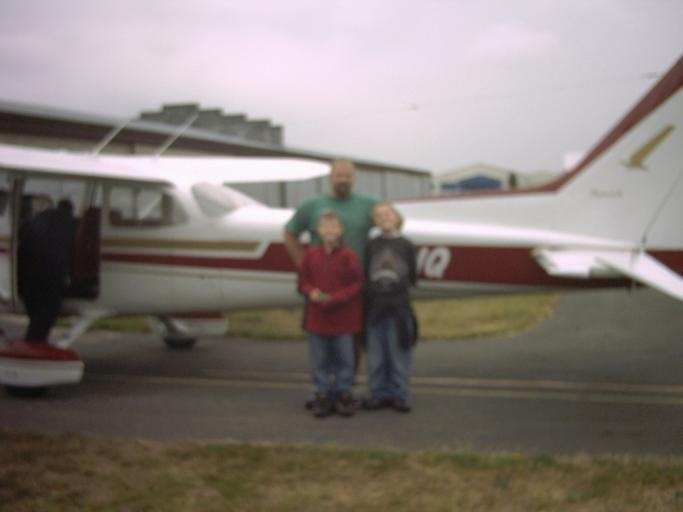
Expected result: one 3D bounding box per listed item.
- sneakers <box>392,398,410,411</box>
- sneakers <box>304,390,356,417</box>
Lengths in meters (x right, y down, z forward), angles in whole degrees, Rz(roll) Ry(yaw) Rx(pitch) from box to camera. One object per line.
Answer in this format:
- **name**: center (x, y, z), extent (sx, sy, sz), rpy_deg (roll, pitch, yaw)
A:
- **sneakers**: center (0.479, 1.221, 6.163), extent (0.148, 0.086, 0.054), rpy_deg (6, 18, 33)
- **sneakers**: center (-0.125, 1.206, 6.165), extent (0.471, 0.169, 0.208), rpy_deg (3, -2, 8)
